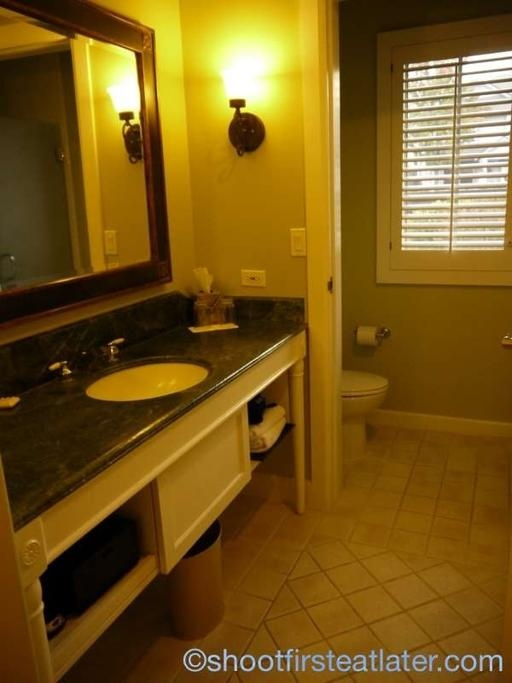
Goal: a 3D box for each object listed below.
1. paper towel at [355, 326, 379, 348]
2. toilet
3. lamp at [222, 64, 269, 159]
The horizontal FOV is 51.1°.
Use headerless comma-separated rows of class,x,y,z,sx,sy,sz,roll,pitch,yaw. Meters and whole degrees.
paper towel,0.657,-0.031,3.139,0.135,0.126,0.103,-3,16,22
toilet,0.559,0.306,2.865,0.331,0.373,0.390,2,11,15
lamp,-0.064,-0.842,2.025,0.149,0.275,0.093,11,38,22
